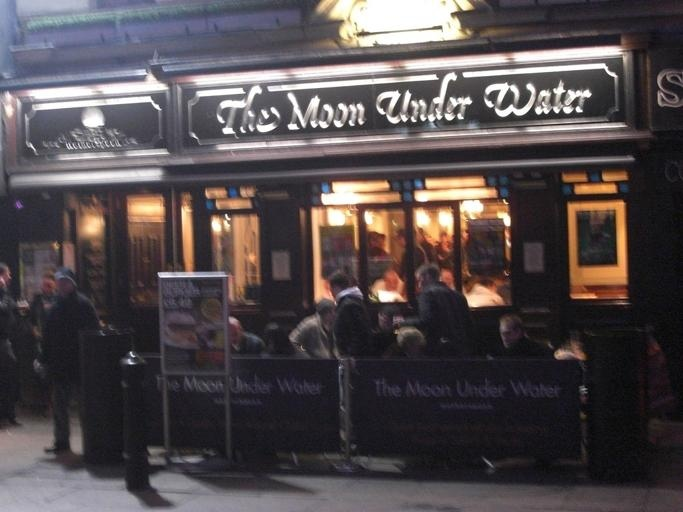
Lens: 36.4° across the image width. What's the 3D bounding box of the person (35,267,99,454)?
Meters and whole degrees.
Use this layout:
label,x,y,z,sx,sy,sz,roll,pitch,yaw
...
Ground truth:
label,x,y,z,sx,sy,sz,roll,pitch,yaw
person,-3.708,1.397,14.176,0.714,2.474,0.465,-2,-4,-15
